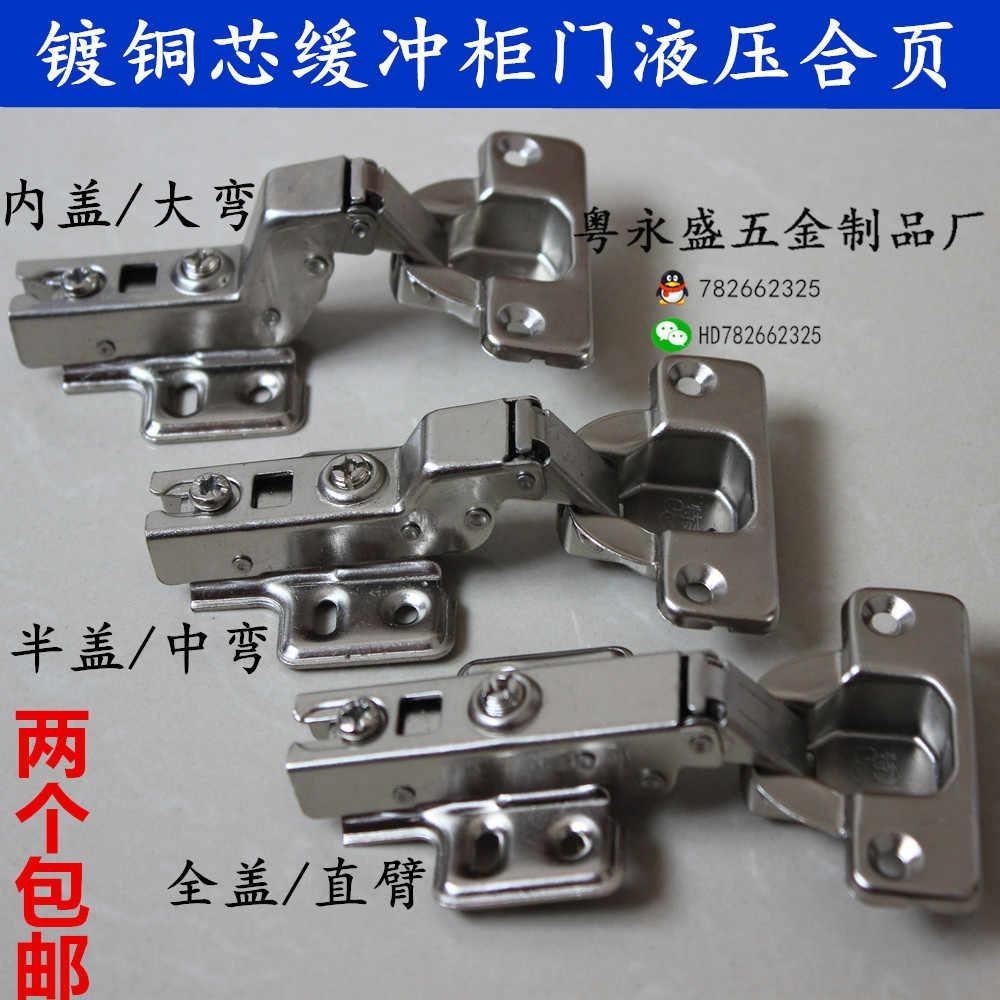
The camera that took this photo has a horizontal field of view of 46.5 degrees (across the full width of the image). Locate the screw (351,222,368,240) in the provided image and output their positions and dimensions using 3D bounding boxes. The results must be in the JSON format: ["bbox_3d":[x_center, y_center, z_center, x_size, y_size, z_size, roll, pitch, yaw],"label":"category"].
[{"bbox_3d":[-0.173,-0.335,1.443,0.013,0.016,0.004,7,36,-9],"label":"screw"}]

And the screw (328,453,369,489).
[{"bbox_3d":[-0.171,-0.030,1.305,0.033,0.013,0.042,-8,57,2],"label":"screw"}]

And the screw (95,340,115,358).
[{"bbox_3d":[-0.517,-0.198,1.522,0.017,0.022,0.005,2,30,-6],"label":"screw"}]

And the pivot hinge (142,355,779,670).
[{"bbox_3d":[-0.005,0.014,1.322,0.513,0.181,0.409,-4,48,-3],"label":"pivot hinge"}]

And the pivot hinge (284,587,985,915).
[{"bbox_3d":[0.145,0.243,1.142,0.489,0.180,0.367,-3,46,1],"label":"pivot hinge"}]

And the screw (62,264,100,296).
[{"bbox_3d":[-0.536,-0.280,1.496,0.053,0.024,0.042,-25,44,-18],"label":"screw"}]

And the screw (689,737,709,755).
[{"bbox_3d":[0.190,0.231,1.101,0.015,0.019,0.006,3,25,5],"label":"screw"}]

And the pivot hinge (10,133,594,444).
[{"bbox_3d":[-0.263,-0.262,1.505,0.546,0.264,0.482,-2,54,-7],"label":"pivot hinge"}]

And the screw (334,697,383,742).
[{"bbox_3d":[-0.134,0.215,1.134,0.047,0.015,0.037,-17,42,-10],"label":"screw"}]

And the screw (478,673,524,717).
[{"bbox_3d":[0.003,0.187,1.119,0.034,0.011,0.041,-5,60,34],"label":"screw"}]

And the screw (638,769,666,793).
[{"bbox_3d":[0.151,0.275,1.143,0.023,0.027,0.007,27,45,-8],"label":"screw"}]

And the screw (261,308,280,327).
[{"bbox_3d":[-0.298,-0.236,1.508,0.017,0.021,0.005,-1,37,-12],"label":"screw"}]

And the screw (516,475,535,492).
[{"bbox_3d":[0.028,-0.020,1.270,0.013,0.016,0.005,4,41,3],"label":"screw"}]
